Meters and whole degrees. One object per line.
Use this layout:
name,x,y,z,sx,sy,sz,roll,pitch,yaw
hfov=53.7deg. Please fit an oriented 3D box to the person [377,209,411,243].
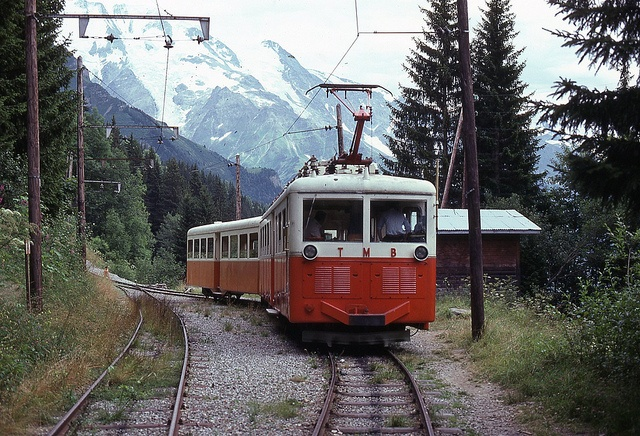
person,1.792,0.154,15.659,0.712,1.145,0.603,5,-8,-3

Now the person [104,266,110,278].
person,-16.811,4.291,49.603,0.291,0.808,1.324,0,-20,-13
